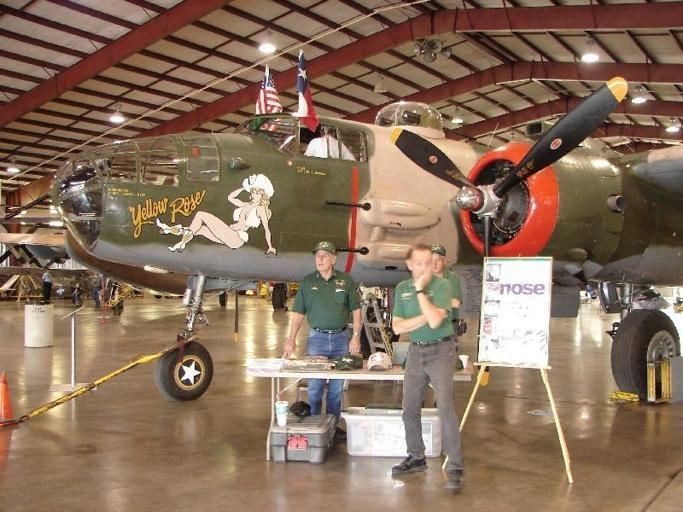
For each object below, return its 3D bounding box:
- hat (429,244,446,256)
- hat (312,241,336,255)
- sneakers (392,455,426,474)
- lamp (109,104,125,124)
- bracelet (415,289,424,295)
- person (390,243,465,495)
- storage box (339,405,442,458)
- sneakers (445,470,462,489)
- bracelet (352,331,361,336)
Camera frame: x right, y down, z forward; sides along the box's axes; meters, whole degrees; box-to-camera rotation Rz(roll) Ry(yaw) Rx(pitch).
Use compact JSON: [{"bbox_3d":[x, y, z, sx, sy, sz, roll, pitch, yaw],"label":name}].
[{"bbox_3d":[1.197,-0.058,7.363,0.193,0.113,0.237,-2,-25,25],"label":"hat"},{"bbox_3d":[-0.148,-0.102,7.450,0.198,0.111,0.259,-1,-19,35],"label":"hat"},{"bbox_3d":[0.752,2.229,6.421,0.452,0.136,0.145,3,-7,-24],"label":"sneakers"},{"bbox_3d":[-10.256,-6.392,27.301,0.875,0.670,0.758,-1,-13,1],"label":"lamp"},{"bbox_3d":[0.818,0.362,6.143,0.098,0.052,0.118,0,1,4],"label":"bracelet"},{"bbox_3d":[0.895,1.096,6.207,0.793,2.404,0.491,0,1,24],"label":"person"},{"bbox_3d":[0.617,2.025,6.884,1.018,0.293,0.563,0,-5,4],"label":"storage box"},{"bbox_3d":[1.140,2.218,6.001,0.141,0.162,0.252,0,1,22],"label":"sneakers"},{"bbox_3d":[0.189,0.955,7.362,0.070,0.033,0.057,6,-1,7],"label":"bracelet"}]
